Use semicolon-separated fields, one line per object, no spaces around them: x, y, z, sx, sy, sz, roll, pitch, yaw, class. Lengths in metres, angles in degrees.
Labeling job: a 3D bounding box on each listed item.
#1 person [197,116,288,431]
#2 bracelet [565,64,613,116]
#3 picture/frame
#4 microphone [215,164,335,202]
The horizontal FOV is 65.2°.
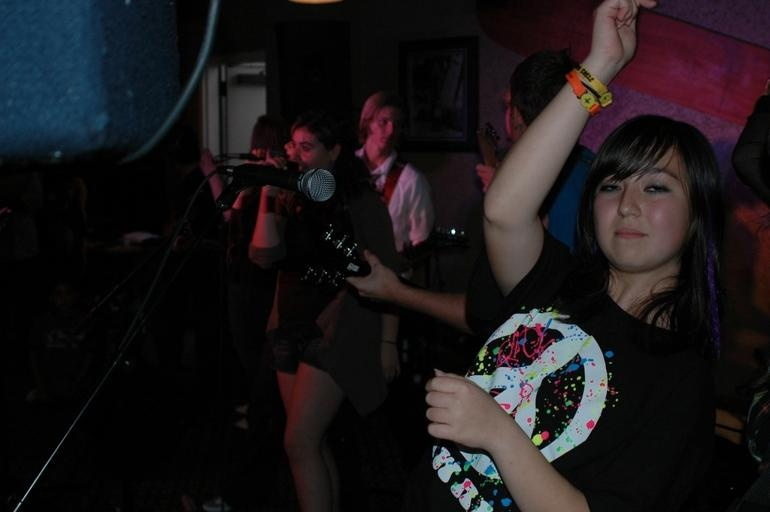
-0.489;0.080;2.163;0.296;1.108;0.224;-4;20;-20;person
0.428;-0.346;1.272;0.094;0.094;0.048;9;20;15;bracelet
0.194;-0.576;2.109;0.375;0.518;0.053;1;6;18;picture/frame
-0.331;-0.228;1.705;0.355;0.142;0.129;8;21;25;microphone
